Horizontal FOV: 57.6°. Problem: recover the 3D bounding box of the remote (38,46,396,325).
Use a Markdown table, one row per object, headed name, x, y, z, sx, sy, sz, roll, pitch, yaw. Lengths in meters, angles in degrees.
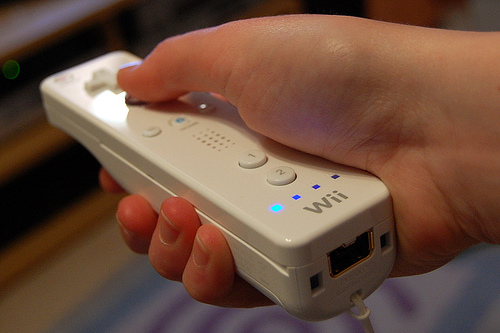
| name | x | y | z | sx | sy | sz | roll | pitch | yaw |
| --- | --- | --- | --- | --- | --- | --- | --- | --- | --- |
| remote | -0.122 | -0.004 | 0.764 | 0.226 | 0.216 | 0.739 | -26 | 38 | -28 |
